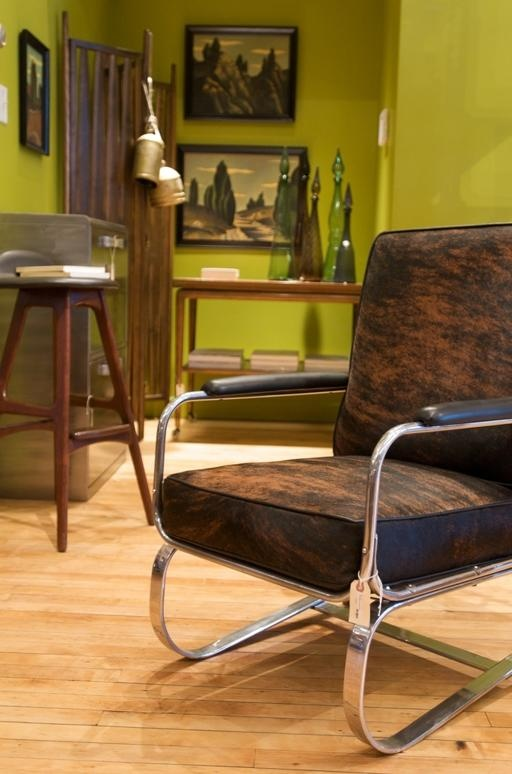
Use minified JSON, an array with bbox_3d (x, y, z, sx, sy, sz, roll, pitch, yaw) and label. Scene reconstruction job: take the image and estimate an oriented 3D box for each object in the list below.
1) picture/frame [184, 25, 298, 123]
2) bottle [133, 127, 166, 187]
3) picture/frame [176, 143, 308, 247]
[{"bbox_3d":[-0.063,-1.647,3.526,0.479,0.387,0.034,1,12,1],"label":"picture/frame"},{"bbox_3d":[-0.436,-0.924,2.721,0.115,0.180,0.092,1,4,-1],"label":"bottle"},{"bbox_3d":[-0.053,-1.032,3.553,0.619,0.470,0.029,0,4,-2],"label":"picture/frame"}]
